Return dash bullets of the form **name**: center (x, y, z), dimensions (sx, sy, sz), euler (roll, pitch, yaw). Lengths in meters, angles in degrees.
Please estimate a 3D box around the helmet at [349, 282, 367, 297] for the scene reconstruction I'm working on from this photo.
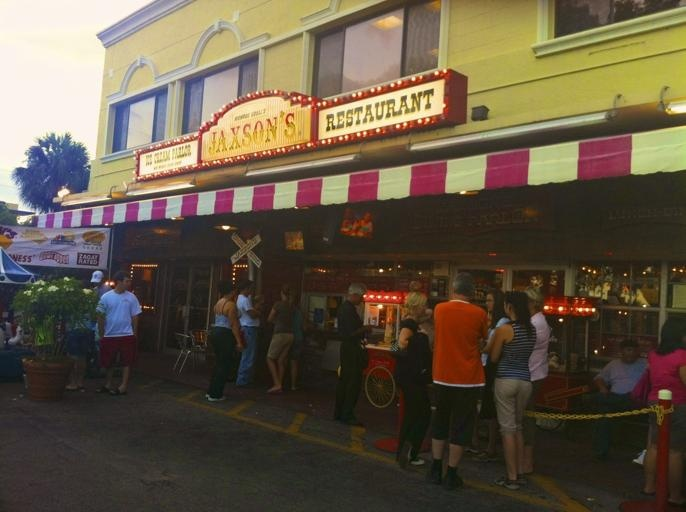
- **helmet**: center (0.248, 0.540, 9.222), dimensions (0.235, 0.201, 0.169), euler (-11, 18, -14)

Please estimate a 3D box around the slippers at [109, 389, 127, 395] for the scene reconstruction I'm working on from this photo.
- **slippers**: center (-3.890, 2.349, 9.718), dimensions (0.212, 0.085, 0.116), euler (6, -11, -19)

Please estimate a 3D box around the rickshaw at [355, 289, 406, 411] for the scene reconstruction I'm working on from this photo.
- **rickshaw**: center (0.850, 1.795, 10.621), dimensions (0.806, 1.981, 0.966), euler (4, 1, -12)

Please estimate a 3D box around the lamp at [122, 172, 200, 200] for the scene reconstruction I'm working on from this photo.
- **lamp**: center (-4.434, -1.722, 13.617), dimensions (0.735, 0.498, 3.062), euler (3, 0, -39)

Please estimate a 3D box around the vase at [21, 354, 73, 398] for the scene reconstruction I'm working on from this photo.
- **vase**: center (-4.924, 1.967, 9.123), dimensions (0.742, 0.643, 0.669), euler (14, 1, 37)

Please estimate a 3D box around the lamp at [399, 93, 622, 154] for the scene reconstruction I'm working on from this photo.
- **lamp**: center (2.421, -1.812, 8.175), dimensions (2.916, 0.285, 0.275), euler (3, 0, 41)
